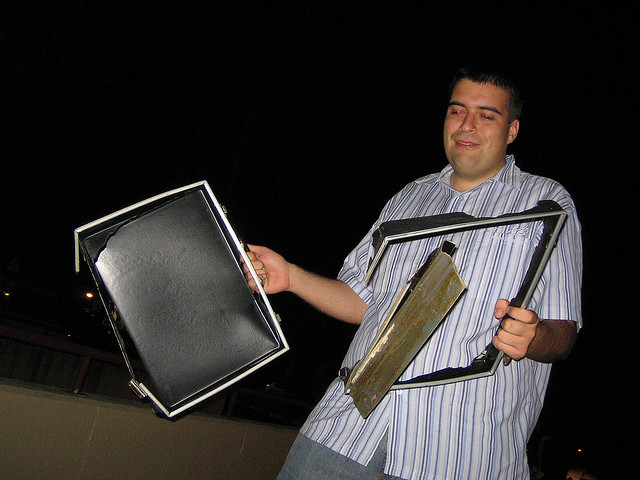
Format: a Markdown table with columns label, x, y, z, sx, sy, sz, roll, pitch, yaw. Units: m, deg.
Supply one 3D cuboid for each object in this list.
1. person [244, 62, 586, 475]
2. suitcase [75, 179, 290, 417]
| label | x | y | z | sx | sy | sz | roll | pitch | yaw |
| --- | --- | --- | --- | --- | --- | --- | --- | --- | --- |
| person | 0.485 | 0.137 | 2.044 | 1.112 | 1.895 | 0.590 | 16 | -11 | 3 |
| suitcase | -0.555 | 0.238 | 2.064 | 0.877 | 0.660 | 0.293 | 52 | -37 | 10 |
